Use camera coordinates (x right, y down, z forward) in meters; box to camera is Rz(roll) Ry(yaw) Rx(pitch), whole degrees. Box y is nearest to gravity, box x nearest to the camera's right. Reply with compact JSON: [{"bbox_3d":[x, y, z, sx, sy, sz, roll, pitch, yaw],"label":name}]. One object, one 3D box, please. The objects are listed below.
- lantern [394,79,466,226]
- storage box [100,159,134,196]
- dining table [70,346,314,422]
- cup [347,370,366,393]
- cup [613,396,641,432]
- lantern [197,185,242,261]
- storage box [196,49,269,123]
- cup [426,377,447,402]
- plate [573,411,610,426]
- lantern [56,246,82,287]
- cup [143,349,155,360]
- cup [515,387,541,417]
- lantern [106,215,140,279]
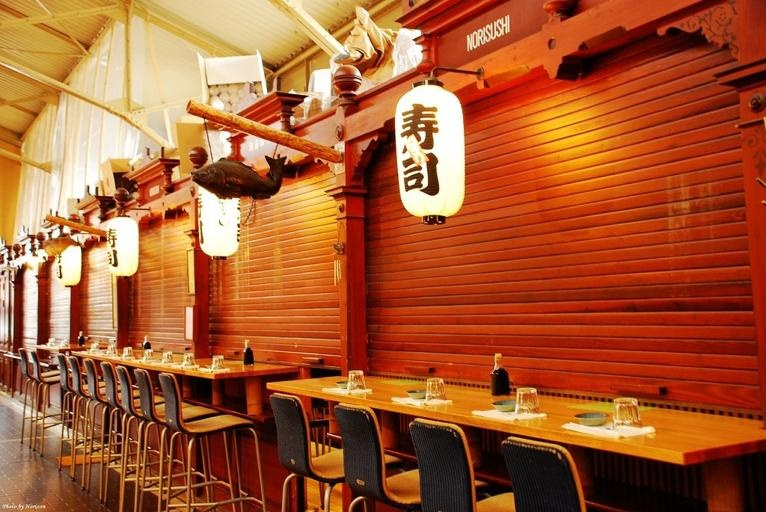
[{"bbox_3d":[0.329,-0.732,3.699,0.457,0.992,0.217,-1,-8,1],"label":"lantern"},{"bbox_3d":[-4.968,-1.483,9.942,0.482,0.870,1.370,4,-9,-31],"label":"storage box"},{"bbox_3d":[-2.178,1.572,6.506,1.019,0.623,2.837,7,-11,-44],"label":"dining table"},{"bbox_3d":[-0.203,0.988,4.185,0.159,0.145,0.155,0,-5,0],"label":"cup"},{"bbox_3d":[1.246,0.813,2.735,0.152,0.130,0.146,2,-7,0],"label":"cup"},{"bbox_3d":[-1.928,-0.389,6.378,0.634,0.940,0.590,5,11,0],"label":"lantern"},{"bbox_3d":[-1.841,-2.207,6.841,0.773,0.632,0.579,-3,12,4],"label":"storage box"},{"bbox_3d":[0.350,0.919,3.687,0.109,0.148,0.165,2,-7,-13],"label":"cup"},{"bbox_3d":[1.138,0.879,2.889,0.186,0.068,0.264,-3,-8,18],"label":"plate"},{"bbox_3d":[-6.284,0.194,10.642,0.374,0.778,0.535,5,-9,-35],"label":"lantern"},{"bbox_3d":[-3.283,1.382,7.461,0.142,0.177,0.169,0,0,-22],"label":"cup"},{"bbox_3d":[0.845,0.867,3.157,0.154,0.130,0.146,1,-7,0],"label":"cup"},{"bbox_3d":[-4.086,-0.166,8.357,0.499,0.936,0.363,-4,-8,25],"label":"lantern"}]
